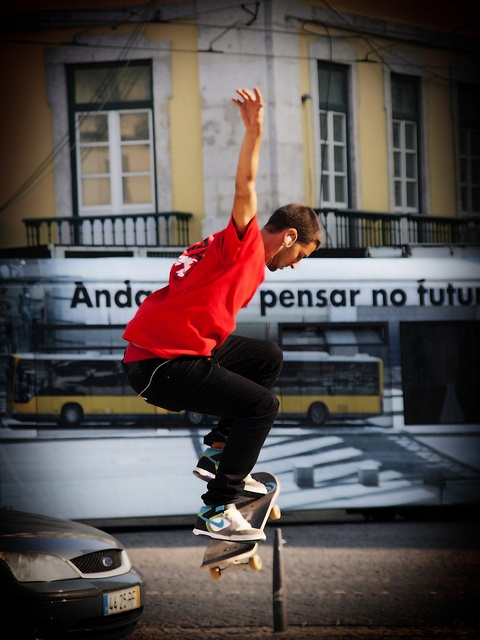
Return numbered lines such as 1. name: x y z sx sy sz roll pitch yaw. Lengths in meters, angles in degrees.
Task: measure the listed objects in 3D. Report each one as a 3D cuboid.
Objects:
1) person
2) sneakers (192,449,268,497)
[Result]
1. person: -0.129 -0.067 8.931 1.120 3.372 1.177 20 22 38
2. sneakers: -0.037 1.154 9.008 0.588 0.305 0.204 18 -15 3
